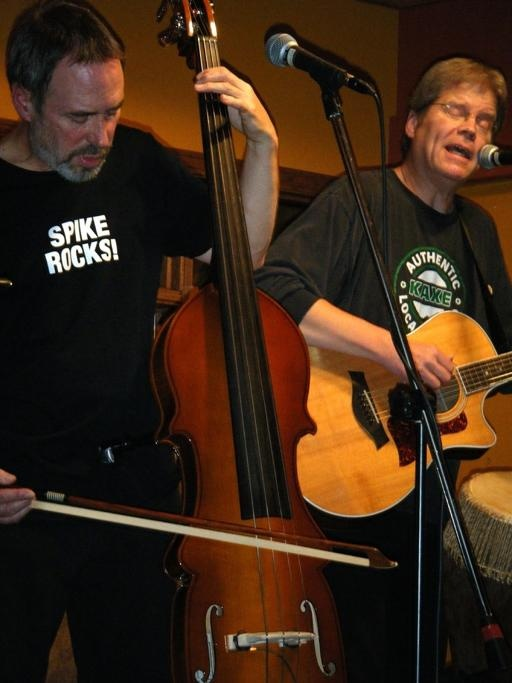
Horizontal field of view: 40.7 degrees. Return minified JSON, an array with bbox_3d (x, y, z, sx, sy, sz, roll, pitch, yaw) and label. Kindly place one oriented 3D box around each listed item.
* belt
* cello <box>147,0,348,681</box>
[{"bbox_3d":[-0.317,0.226,1.420,0.213,0.054,0.039,-5,9,-12],"label":"belt"},{"bbox_3d":[-0.066,0.042,1.314,0.304,1.081,0.144,2,-18,-34],"label":"cello"}]
